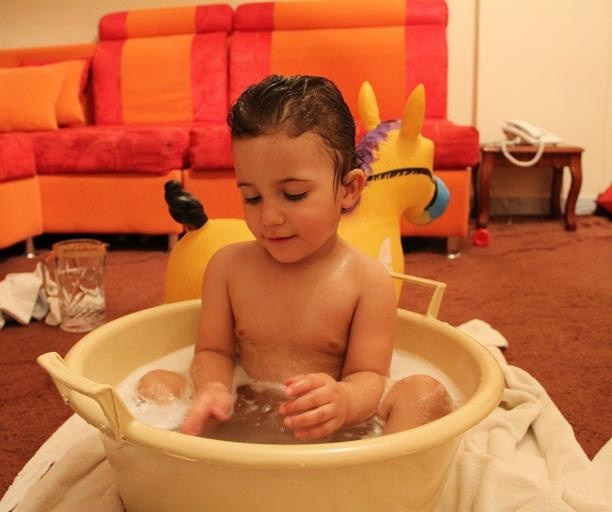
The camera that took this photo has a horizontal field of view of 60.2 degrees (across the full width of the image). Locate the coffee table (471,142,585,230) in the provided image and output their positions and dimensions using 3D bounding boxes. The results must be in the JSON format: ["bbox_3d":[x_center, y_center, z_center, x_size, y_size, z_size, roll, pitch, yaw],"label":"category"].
[{"bbox_3d":[1.171,-0.431,2.865,0.547,0.495,0.555,-1,9,-9],"label":"coffee table"}]

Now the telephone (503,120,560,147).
[{"bbox_3d":[1.173,-0.632,2.738,0.196,0.072,0.217,4,25,-44],"label":"telephone"}]
